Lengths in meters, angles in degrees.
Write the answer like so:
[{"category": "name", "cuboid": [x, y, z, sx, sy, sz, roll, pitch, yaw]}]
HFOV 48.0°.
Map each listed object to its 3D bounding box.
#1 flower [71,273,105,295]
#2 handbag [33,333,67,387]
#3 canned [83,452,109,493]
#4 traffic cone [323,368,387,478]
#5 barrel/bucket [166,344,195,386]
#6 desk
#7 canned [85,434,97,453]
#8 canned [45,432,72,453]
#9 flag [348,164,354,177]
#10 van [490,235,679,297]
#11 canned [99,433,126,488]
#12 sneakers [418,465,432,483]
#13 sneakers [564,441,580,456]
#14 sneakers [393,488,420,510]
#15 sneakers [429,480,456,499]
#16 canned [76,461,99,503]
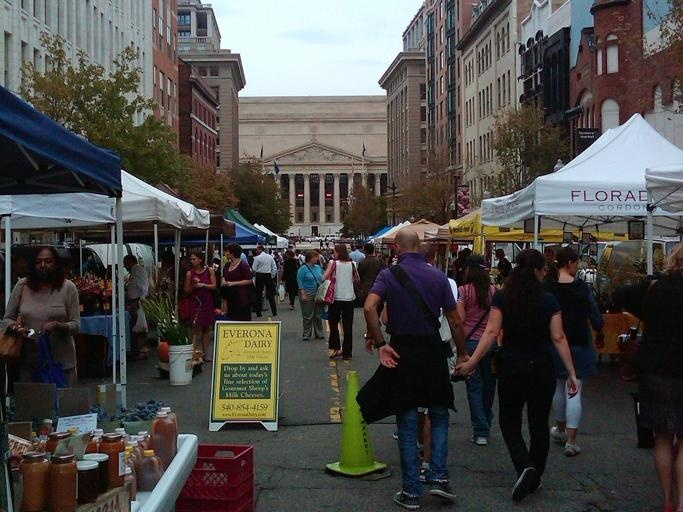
[{"category": "flower", "cuboid": [-4.600, 0.501, 13.938, 0.535, 0.362, 0.548, -1, 6, -27]}, {"category": "handbag", "cuboid": [-3.242, 1.199, 8.471, 0.237, 0.644, 0.353, -10, 7, 27]}, {"category": "canned", "cuboid": [-1.442, 1.284, 4.591, 0.176, 0.226, 0.185, 1, -2, -17]}, {"category": "traffic cone", "cuboid": [0.176, 1.695, 7.890, 0.568, 1.039, 0.640, 0, -3, -41]}, {"category": "barrel/bucket", "cuboid": [-2.649, 1.759, 12.610, 0.438, 0.667, 0.473, 1, 0, 0]}, {"category": "desk", "cuboid": [-4.052, 1.380, 13.166, 1.101, 0.946, 1.183, -1, -3, -4]}, {"category": "canned", "cuboid": [-1.578, 1.185, 4.839, 0.064, 0.073, 0.069, -1, -2, 24]}, {"category": "canned", "cuboid": [-1.751, 1.136, 4.745, 0.123, 0.135, 0.132, 1, -4, 3]}, {"category": "flag", "cuboid": [2.256, -18.328, 160.465, 0.982, 2.703, 1.137, -2, -3, 1]}, {"category": "van", "cuboid": [4.083, 0.106, 12.492, 1.193, 1.230, 2.103, 1, -5, -9]}, {"category": "canned", "cuboid": [-1.440, 1.281, 4.807, 0.173, 0.316, 0.179, -2, -3, -28]}, {"category": "sneakers", "cuboid": [0.819, 2.150, 7.521, 0.081, 0.148, 0.176, -3, -3, 7]}, {"category": "sneakers", "cuboid": [2.519, 2.094, 8.358, 0.082, 0.100, 0.220, 0, 3, 26]}, {"category": "sneakers", "cuboid": [0.581, 2.177, 6.876, 0.101, 0.190, 0.301, -1, 7, -19]}, {"category": "sneakers", "cuboid": [0.937, 2.114, 6.976, 0.109, 0.168, 0.334, -4, -11, 41]}, {"category": "canned", "cuboid": [-1.464, 1.299, 4.451, 0.172, 0.213, 0.174, 1, -1, -15]}]
